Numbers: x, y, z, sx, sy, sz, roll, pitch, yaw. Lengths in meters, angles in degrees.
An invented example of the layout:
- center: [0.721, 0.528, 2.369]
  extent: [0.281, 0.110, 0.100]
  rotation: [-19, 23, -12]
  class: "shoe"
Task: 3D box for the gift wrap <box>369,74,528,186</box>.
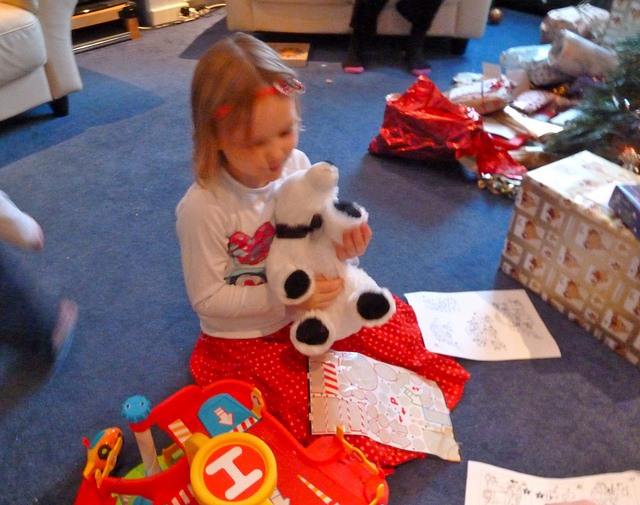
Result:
- center: [0.538, -0.465, 2.090]
  extent: [0.670, 0.267, 0.458]
  rotation: [31, 43, 32]
  class: "gift wrap"
